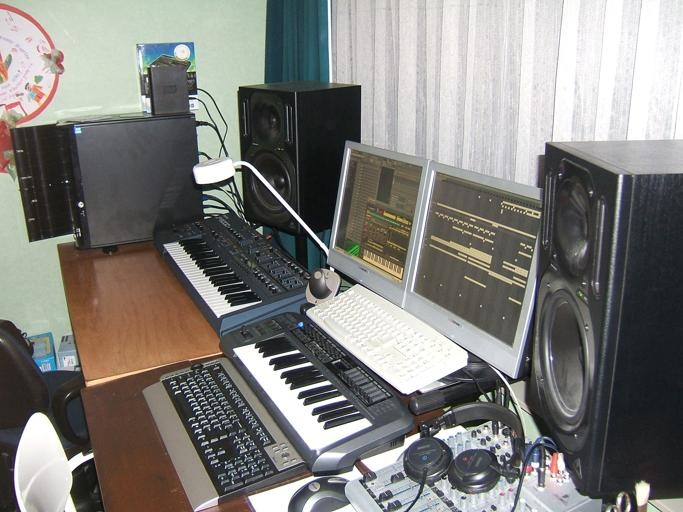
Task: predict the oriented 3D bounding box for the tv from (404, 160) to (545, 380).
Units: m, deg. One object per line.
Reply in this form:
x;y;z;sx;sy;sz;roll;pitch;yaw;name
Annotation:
0.352;0.043;1.399;0.098;0.496;0.452;-4;20;-21;tv

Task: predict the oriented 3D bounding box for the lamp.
-0.242;-0.096;1.976;0.433;0.615;0.242;-25;13;-26;lamp

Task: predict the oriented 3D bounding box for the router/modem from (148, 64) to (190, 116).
-0.797;-0.766;2.434;0.175;0.202;0.057;-13;23;-21;router/modem

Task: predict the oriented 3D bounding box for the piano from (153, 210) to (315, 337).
-0.457;0.057;2.111;0.363;0.207;0.832;-8;26;-31;piano

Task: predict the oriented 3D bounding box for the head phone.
0.273;0.420;1.175;0.285;0.066;0.223;-14;24;-19;head phone

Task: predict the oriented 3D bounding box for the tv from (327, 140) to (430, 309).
0.110;-0.115;1.694;0.028;0.445;0.382;-7;24;-39;tv

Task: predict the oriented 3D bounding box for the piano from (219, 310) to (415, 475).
-0.098;0.338;1.477;0.314;0.135;0.675;-14;26;-29;piano
